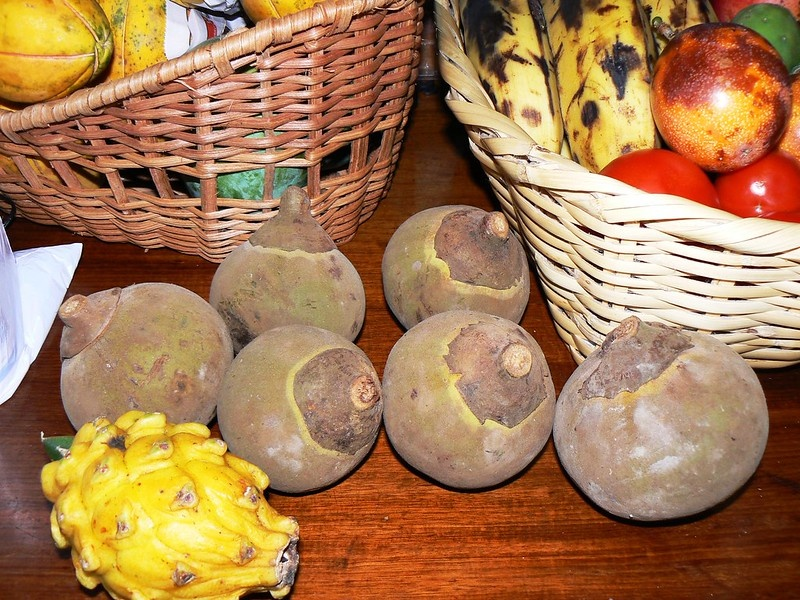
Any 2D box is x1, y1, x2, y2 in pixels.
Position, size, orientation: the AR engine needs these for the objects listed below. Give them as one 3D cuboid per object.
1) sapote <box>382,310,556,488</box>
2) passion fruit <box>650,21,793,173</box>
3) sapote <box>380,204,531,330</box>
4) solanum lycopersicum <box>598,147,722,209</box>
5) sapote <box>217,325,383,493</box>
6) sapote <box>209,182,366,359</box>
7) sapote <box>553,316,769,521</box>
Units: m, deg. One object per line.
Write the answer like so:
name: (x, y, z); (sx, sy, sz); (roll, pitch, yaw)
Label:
sapote: (0.074, 0.109, 0.909); (0.187, 0.187, 0.182); (-5, 38, -6)
passion fruit: (0.366, -0.242, 0.998); (0.174, 0.204, 0.168); (-9, 12, -1)
sapote: (0.061, -0.042, 0.971); (0.158, 0.159, 0.155); (19, 54, -2)
solanum lycopersicum: (0.318, -0.161, 0.899); (0.089, 0.061, 0.108); (16, 17, 3)
sapote: (-0.113, 0.120, 0.912); (0.172, 0.177, 0.180); (-18, 55, -25)
sapote: (-0.144, -0.041, 1.002); (0.190, 0.222, 0.186); (-11, 35, -33)
sapote: (0.279, 0.124, 0.898); (0.212, 0.212, 0.218); (59, 21, -7)
